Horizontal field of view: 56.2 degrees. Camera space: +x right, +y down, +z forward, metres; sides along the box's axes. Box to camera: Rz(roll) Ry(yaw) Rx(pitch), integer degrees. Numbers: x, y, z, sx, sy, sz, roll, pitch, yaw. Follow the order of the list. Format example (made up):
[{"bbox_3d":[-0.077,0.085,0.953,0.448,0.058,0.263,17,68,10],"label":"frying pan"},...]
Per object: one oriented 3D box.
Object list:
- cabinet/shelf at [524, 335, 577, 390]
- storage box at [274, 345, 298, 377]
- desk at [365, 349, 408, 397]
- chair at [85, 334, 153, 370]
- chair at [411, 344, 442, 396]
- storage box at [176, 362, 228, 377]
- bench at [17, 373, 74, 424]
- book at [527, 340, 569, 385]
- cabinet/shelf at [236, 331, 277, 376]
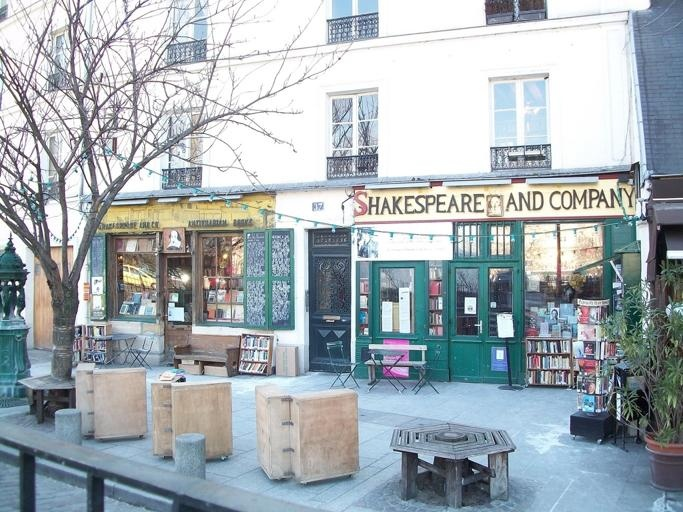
[{"bbox_3d":[4.191,2.134,12.745,0.921,1.190,0.356,0,-3,12],"label":"cabinet/shelf"},{"bbox_3d":[-1.230,2.370,14.327,0.565,0.891,0.419,-1,-2,29],"label":"storage box"},{"bbox_3d":[0.939,2.327,13.277,0.782,0.819,0.587,4,-1,12],"label":"desk"},{"bbox_3d":[-5.539,2.343,15.864,1.731,0.786,0.578,-3,-4,14],"label":"chair"},{"bbox_3d":[1.655,2.307,13.062,0.686,1.035,0.720,-5,-2,-21],"label":"chair"},{"bbox_3d":[-3.135,2.595,14.656,1.389,0.294,0.362,-4,-4,27],"label":"storage box"},{"bbox_3d":[-4.803,2.211,10.469,0.872,0.591,0.834,3,-4,-37],"label":"bench"},{"bbox_3d":[4.153,2.122,12.777,0.786,0.894,0.285,0,-3,12],"label":"book"},{"bbox_3d":[-1.916,2.261,14.565,0.749,0.964,0.318,-4,-15,21],"label":"cabinet/shelf"}]
